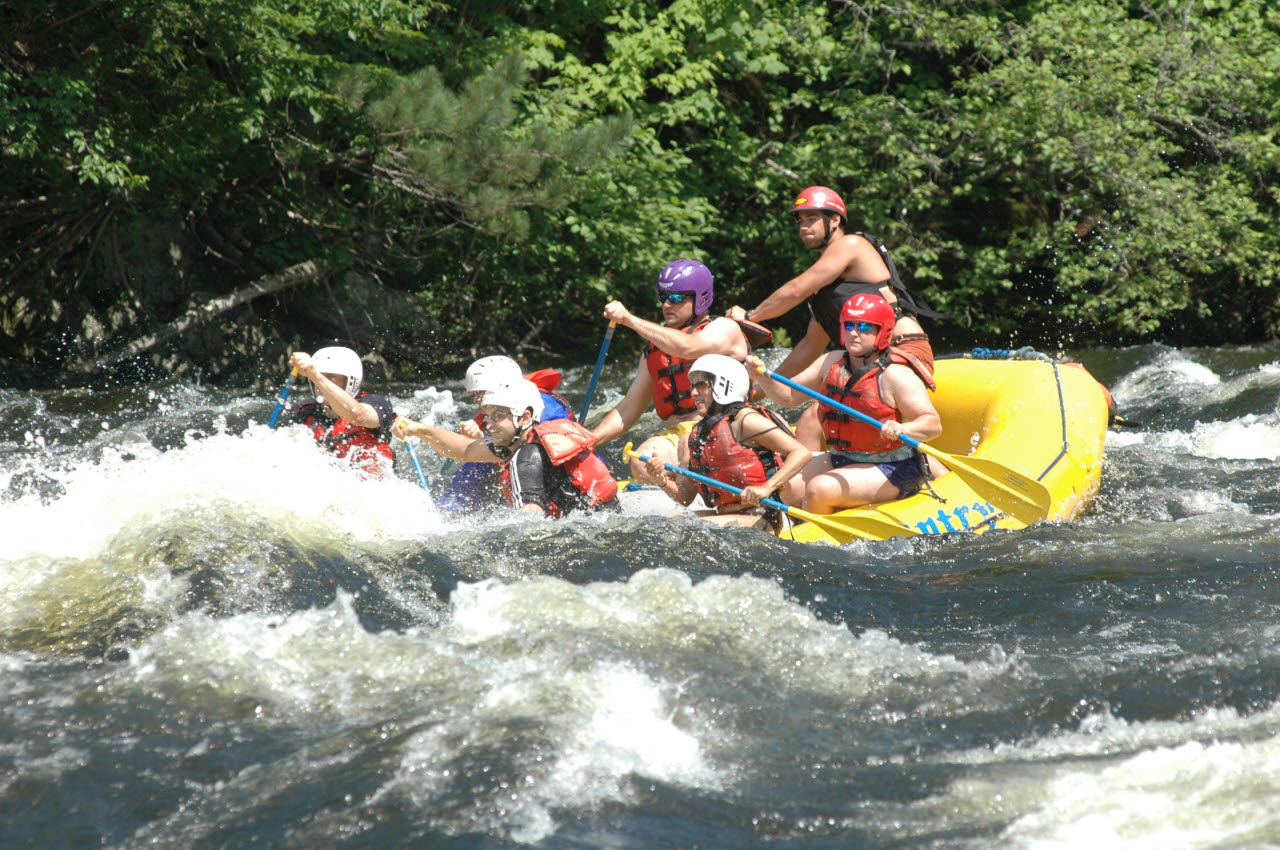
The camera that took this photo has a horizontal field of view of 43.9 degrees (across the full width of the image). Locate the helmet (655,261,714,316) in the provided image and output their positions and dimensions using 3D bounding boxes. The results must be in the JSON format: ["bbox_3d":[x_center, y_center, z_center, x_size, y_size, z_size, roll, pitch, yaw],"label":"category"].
[{"bbox_3d":[0.382,-1.106,12.578,0.378,0.328,0.295,-22,33,-37],"label":"helmet"}]

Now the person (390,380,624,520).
[{"bbox_3d":[-0.897,0.184,11.686,1.290,1.032,0.590,0,15,35],"label":"person"}]

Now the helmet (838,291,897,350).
[{"bbox_3d":[1.820,-0.827,12.049,0.366,0.351,0.445,18,25,34],"label":"helmet"}]

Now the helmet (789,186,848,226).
[{"bbox_3d":[1.526,-1.830,12.861,0.436,0.189,0.325,12,-5,-22],"label":"helmet"}]

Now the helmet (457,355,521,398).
[{"bbox_3d":[-1.040,-0.369,11.694,0.276,0.278,0.373,-20,-23,34],"label":"helmet"}]

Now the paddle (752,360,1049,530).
[{"bbox_3d":[1.993,0.192,12.025,2.413,0.335,0.208,30,8,17],"label":"paddle"}]

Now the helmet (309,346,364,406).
[{"bbox_3d":[-2.382,-0.466,12.310,0.341,0.386,0.431,5,-15,17],"label":"helmet"}]

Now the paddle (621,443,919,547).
[{"bbox_3d":[1.053,0.532,11.694,1.733,0.184,0.185,17,46,9],"label":"paddle"}]

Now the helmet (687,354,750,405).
[{"bbox_3d":[0.588,-0.320,11.746,0.434,0.328,0.307,1,10,7],"label":"helmet"}]
